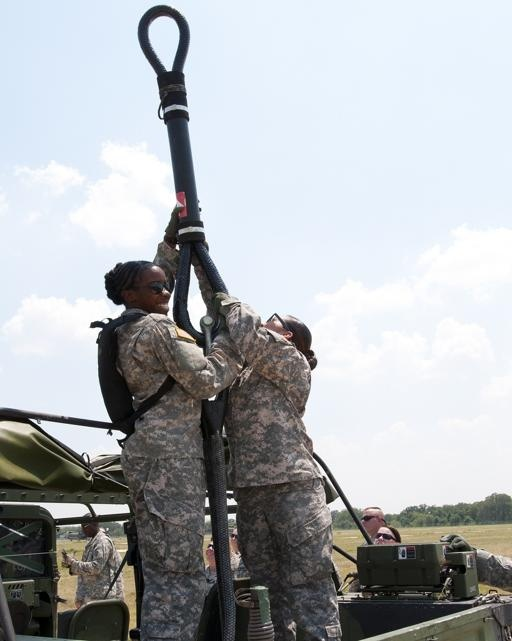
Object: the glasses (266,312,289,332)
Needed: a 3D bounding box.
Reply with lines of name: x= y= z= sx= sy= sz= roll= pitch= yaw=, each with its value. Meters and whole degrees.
glasses: x=0.121 y=0.016 z=4.100 sx=0.086 sy=0.094 sz=0.077 roll=-7 pitch=-10 yaw=14
